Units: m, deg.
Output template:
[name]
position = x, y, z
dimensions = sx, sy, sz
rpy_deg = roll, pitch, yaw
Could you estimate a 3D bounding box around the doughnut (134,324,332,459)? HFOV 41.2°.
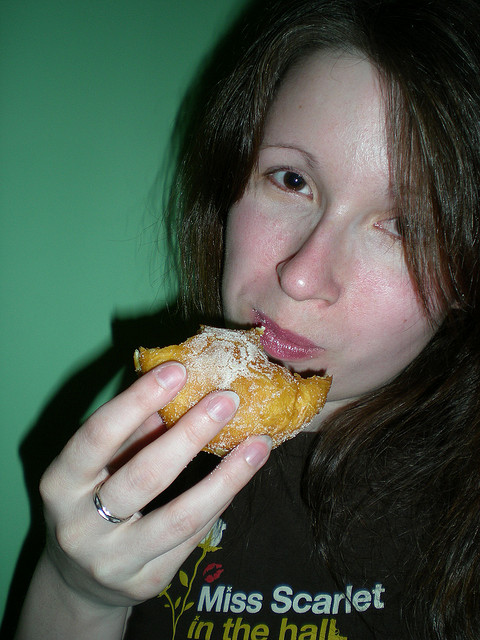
[doughnut]
position = 0.002, 0.113, 1.160
dimensions = 0.282, 0.264, 0.090
rpy_deg = 39, -18, 16
